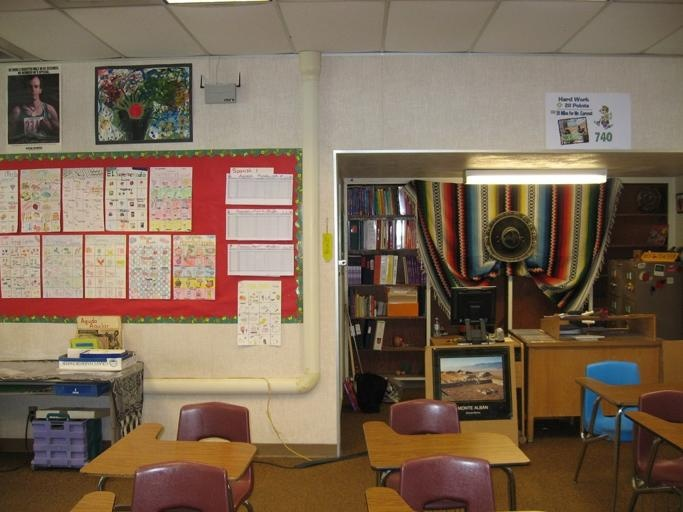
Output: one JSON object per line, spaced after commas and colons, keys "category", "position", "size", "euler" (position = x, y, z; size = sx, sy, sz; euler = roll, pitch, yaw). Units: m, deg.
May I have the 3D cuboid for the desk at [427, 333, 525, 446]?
{"category": "desk", "position": [1.313, 1.333, 7.152], "size": [1.116, 1.621, 0.902], "euler": [2, -7, -4]}

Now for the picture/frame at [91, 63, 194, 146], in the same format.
{"category": "picture/frame", "position": [-1.882, -1.512, 6.560], "size": [0.779, 0.616, 0.030], "euler": [-1, 4, 1]}

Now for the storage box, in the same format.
{"category": "storage box", "position": [-2.604, 1.775, 6.559], "size": [0.495, 0.380, 0.503], "euler": [1, 1, -1]}

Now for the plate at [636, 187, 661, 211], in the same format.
{"category": "plate", "position": [3.999, -0.749, 8.836], "size": [0.292, 0.304, 0.131], "euler": [3, 4, 20]}

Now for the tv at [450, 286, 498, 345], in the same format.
{"category": "tv", "position": [1.350, 0.598, 6.943], "size": [0.578, 0.708, 0.308], "euler": [1, 4, 0]}
